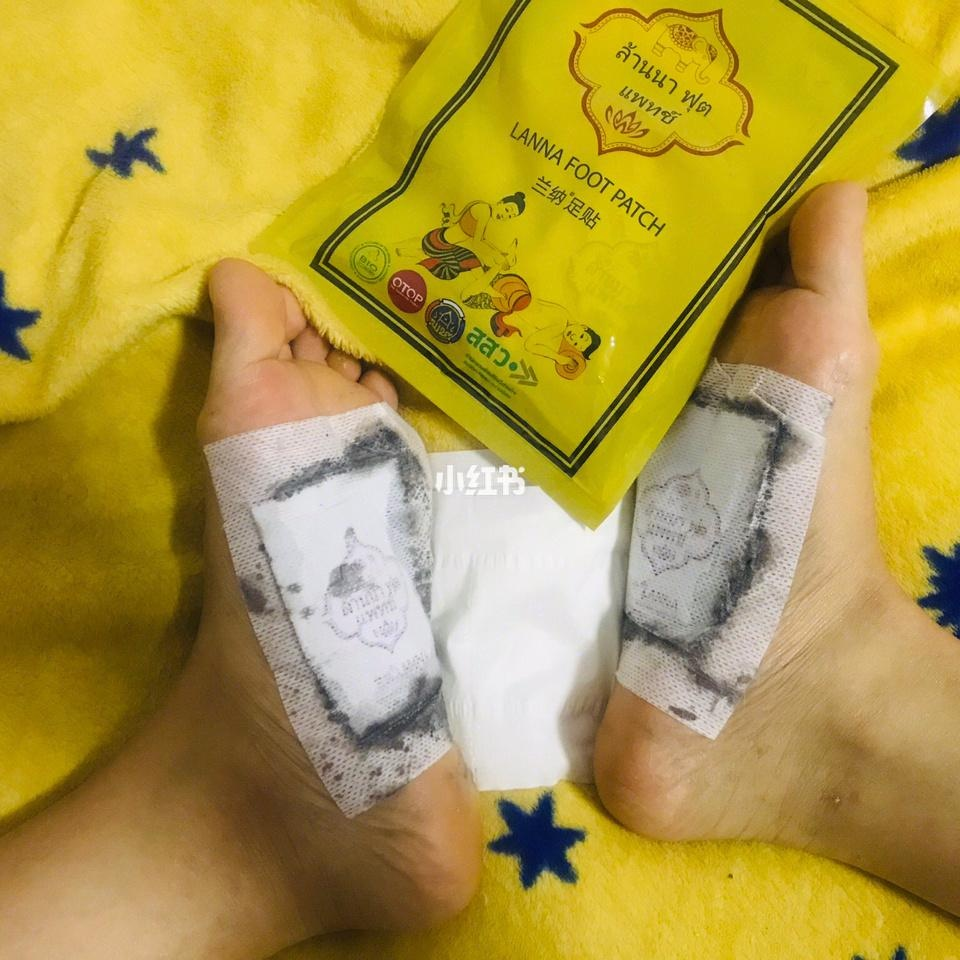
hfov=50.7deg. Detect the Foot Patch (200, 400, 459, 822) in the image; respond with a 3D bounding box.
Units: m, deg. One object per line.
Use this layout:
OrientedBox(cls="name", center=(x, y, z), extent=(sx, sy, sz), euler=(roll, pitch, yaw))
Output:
OrientedBox(cls="Foot Patch", center=(-0.113, 0.111, 0.889), extent=(0.256, 0.063, 0.341), euler=(-25, 95, -28))
